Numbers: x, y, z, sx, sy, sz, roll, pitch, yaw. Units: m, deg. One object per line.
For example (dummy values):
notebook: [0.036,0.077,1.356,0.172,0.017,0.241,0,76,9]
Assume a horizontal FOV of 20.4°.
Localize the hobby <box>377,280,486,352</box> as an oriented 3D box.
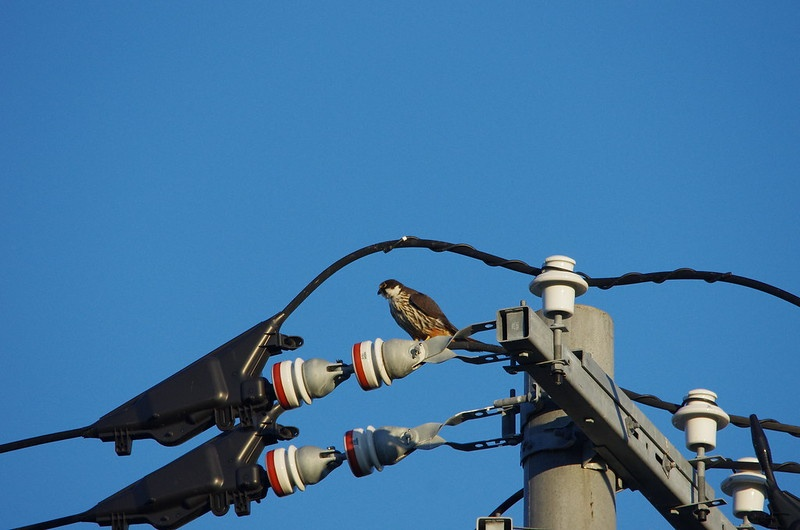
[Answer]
hobby: [0.307,0.504,22.337,1.324,0.761,0.493,0,-11,-41]
